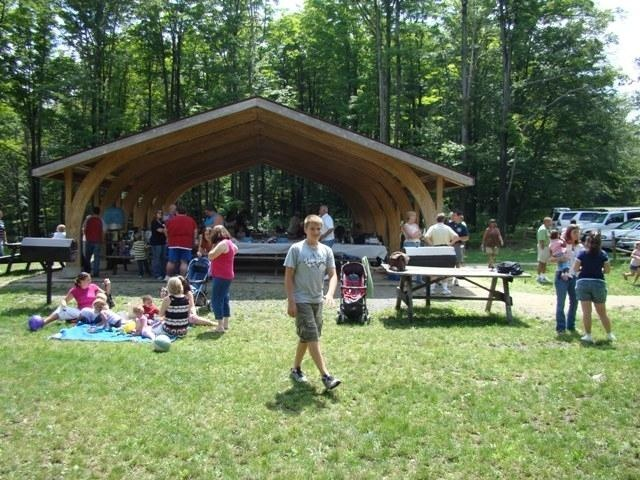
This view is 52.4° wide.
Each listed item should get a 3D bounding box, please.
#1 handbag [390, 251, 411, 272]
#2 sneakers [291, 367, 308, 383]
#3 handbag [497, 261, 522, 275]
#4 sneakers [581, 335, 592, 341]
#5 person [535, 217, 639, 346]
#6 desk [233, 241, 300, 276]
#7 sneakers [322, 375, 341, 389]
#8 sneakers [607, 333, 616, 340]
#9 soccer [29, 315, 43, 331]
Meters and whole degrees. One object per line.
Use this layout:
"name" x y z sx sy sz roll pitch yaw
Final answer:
"handbag" 1.785 0.447 14.687 0.312 0.266 0.474 -8 30 7
"sneakers" -0.364 2.400 11.516 0.145 0.172 0.364 -1 -1 -36
"handbag" 4.194 0.632 14.375 0.559 0.259 0.515 0 2 16
"sneakers" 5.383 1.960 13.114 0.171 0.180 0.104 4 1 37
"person" 5.341 0.867 13.624 0.875 2.321 1.488 -1 2 -13
"desk" -1.849 0.535 20.964 1.500 0.747 1.126 1 8 5
"sneakers" 0.203 2.421 11.154 0.168 0.181 0.362 -24 -6 -32
"sneakers" 5.907 1.949 13.165 0.179 0.187 0.112 -1 2 29
"soccer" -5.878 1.680 13.469 0.275 0.290 0.314 -1 10 -32
